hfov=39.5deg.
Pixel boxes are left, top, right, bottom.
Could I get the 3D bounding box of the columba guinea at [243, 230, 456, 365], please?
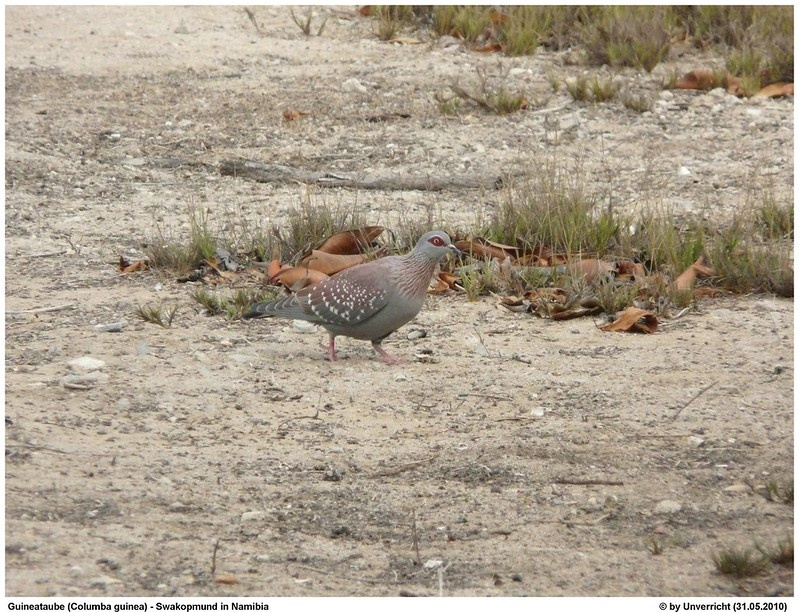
[{"bbox_3d":[-0.266,-0.083,8.773,2.203,1.185,0.664,4,24,2],"label":"columba guinea"}]
